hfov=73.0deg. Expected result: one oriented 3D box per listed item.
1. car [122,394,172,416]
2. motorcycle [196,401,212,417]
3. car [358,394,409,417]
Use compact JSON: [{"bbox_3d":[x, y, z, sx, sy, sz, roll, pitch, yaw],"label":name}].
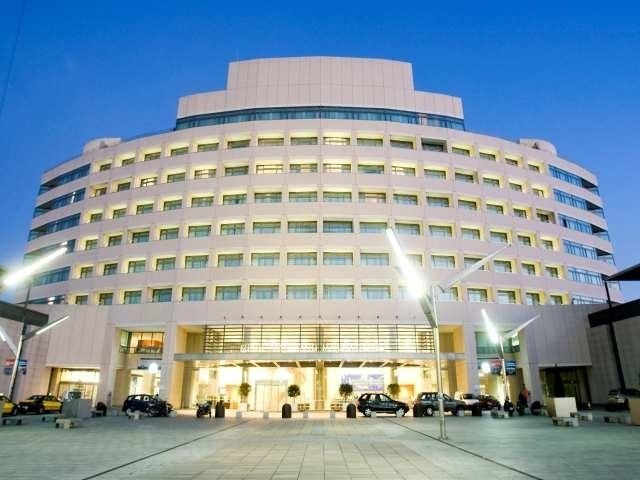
[{"bbox_3d":[-15.391,14.875,38.252,4.173,1.480,2.261,-5,-20,13],"label":"car"},{"bbox_3d":[-9.953,14.635,37.079,1.852,0.711,2.061,-2,-11,-2],"label":"motorcycle"},{"bbox_3d":[5.621,14.637,38.503,4.469,1.536,1.929,-1,-13,2],"label":"car"}]
